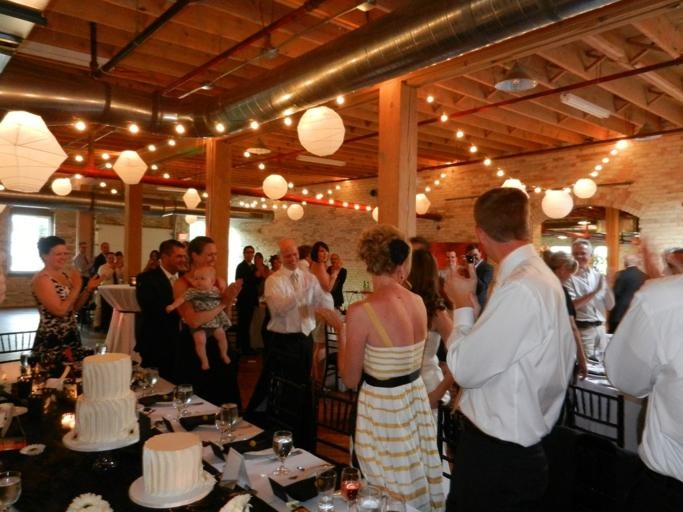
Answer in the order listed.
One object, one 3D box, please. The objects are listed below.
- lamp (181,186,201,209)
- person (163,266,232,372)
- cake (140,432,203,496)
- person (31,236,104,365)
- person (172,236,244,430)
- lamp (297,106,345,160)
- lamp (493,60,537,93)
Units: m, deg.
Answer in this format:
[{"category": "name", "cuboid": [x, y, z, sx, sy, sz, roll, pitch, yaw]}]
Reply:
[{"category": "lamp", "cuboid": [-3.204, -1.274, 11.286, 0.259, 0.451, 0.915, -2, 1, -11]}, {"category": "person", "cuboid": [-1.073, 0.473, 4.027, 0.410, 0.775, 0.425, -1, 2, 4]}, {"category": "cake", "cuboid": [-0.737, 0.934, 2.327, 0.287, 0.165, 0.252, 0, -5, -9]}, {"category": "person", "cuboid": [-2.154, 0.310, 4.125, 0.482, 0.945, 1.191, -2, 2, -30]}, {"category": "person", "cuboid": [-0.966, 0.569, 3.969, 0.536, 1.275, 0.455, -5, 8, -24]}, {"category": "lamp", "cuboid": [-0.222, -1.178, 4.961, 0.549, 0.438, 0.522, 5, 31, -10]}, {"category": "lamp", "cuboid": [1.812, -1.897, 5.502, 0.353, 0.304, 0.427, -1, 1, 8]}]
